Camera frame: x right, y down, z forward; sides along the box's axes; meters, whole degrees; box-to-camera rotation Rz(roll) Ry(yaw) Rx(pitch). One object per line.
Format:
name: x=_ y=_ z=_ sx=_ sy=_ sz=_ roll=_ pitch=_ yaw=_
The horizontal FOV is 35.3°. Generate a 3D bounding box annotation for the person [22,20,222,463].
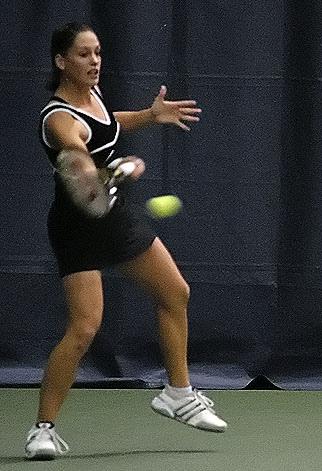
person: x=-0.149 y=0.011 z=1.725 sx=0.358 sy=1.423 sz=0.573 roll=-1 pitch=-2 yaw=44

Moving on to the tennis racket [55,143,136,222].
tennis racket: x=-0.214 y=-0.157 z=1.511 sx=0.137 sy=0.173 sz=0.263 roll=3 pitch=26 yaw=46
